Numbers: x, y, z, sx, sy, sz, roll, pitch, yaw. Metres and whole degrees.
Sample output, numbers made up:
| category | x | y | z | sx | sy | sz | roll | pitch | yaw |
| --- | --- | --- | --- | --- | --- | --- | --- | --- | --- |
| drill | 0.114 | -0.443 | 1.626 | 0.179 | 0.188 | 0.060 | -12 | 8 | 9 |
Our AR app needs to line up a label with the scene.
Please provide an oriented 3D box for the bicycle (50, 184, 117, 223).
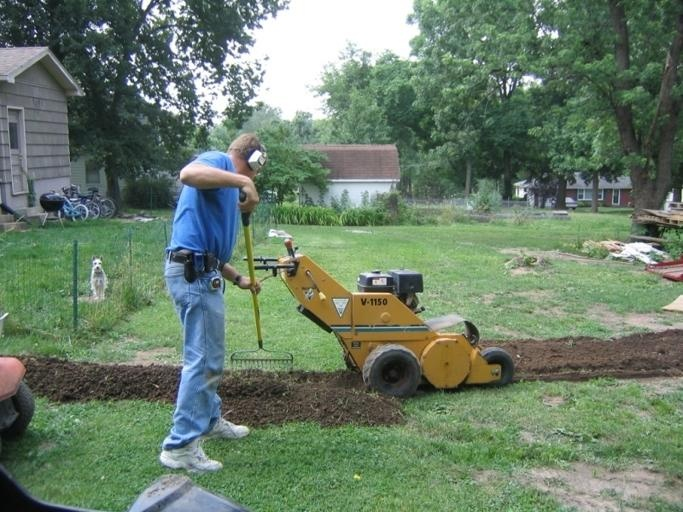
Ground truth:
| category | x | y | z | sx | sy | sz | roll | pitch | yaw |
| --- | --- | --- | --- | --- | --- | --- | --- | --- | --- |
| bicycle | -8.868 | -1.729 | 23.767 | 1.903 | 1.229 | 1.099 | 3 | 2 | -6 |

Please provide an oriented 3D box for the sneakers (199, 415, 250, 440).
| category | x | y | z | sx | sy | sz | roll | pitch | yaw |
| --- | --- | --- | --- | --- | --- | --- | --- | --- | --- |
| sneakers | -1.392 | 2.062 | 8.609 | 0.558 | 0.259 | 0.214 | 1 | 2 | -13 |

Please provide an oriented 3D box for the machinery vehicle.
| category | x | y | z | sx | sy | sz | roll | pitch | yaw |
| --- | --- | --- | --- | --- | --- | --- | --- | --- | --- |
| machinery vehicle | 0.621 | 0.812 | 10.260 | 3.616 | 2.279 | 1.481 | -3 | 8 | -17 |

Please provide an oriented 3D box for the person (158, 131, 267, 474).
| category | x | y | z | sx | sy | sz | roll | pitch | yaw |
| --- | --- | --- | --- | --- | --- | --- | --- | --- | --- |
| person | -1.515 | 0.505 | 8.223 | 0.829 | 3.705 | 1.304 | 8 | 11 | 32 |

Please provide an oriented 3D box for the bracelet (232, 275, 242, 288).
| category | x | y | z | sx | sy | sz | roll | pitch | yaw |
| --- | --- | --- | --- | --- | --- | --- | --- | --- | --- |
| bracelet | -1.228 | 0.311 | 8.501 | 0.078 | 0.139 | 0.129 | 8 | -8 | 1 |
